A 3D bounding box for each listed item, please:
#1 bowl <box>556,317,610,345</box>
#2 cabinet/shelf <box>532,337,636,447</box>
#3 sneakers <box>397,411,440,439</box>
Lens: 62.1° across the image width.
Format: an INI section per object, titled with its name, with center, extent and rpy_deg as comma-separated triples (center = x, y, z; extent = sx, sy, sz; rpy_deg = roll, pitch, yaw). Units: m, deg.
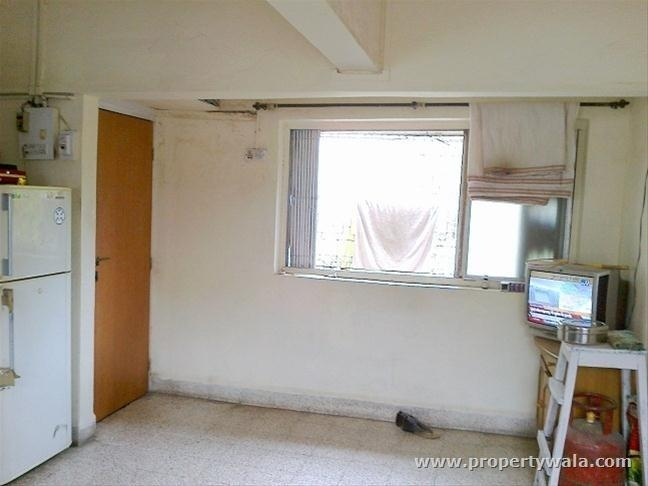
[bowl]
center = 1.697, 0.581, 3.519
extent = 0.321, 0.129, 0.210
rpy_deg = 1, 13, -4
[cabinet/shelf]
center = 1.852, 0.979, 3.968
extent = 0.449, 0.781, 0.589
rpy_deg = -2, 21, 1
[sneakers]
center = 0.770, 1.489, 4.371
extent = 0.248, 0.106, 0.053
rpy_deg = 27, 12, 12
